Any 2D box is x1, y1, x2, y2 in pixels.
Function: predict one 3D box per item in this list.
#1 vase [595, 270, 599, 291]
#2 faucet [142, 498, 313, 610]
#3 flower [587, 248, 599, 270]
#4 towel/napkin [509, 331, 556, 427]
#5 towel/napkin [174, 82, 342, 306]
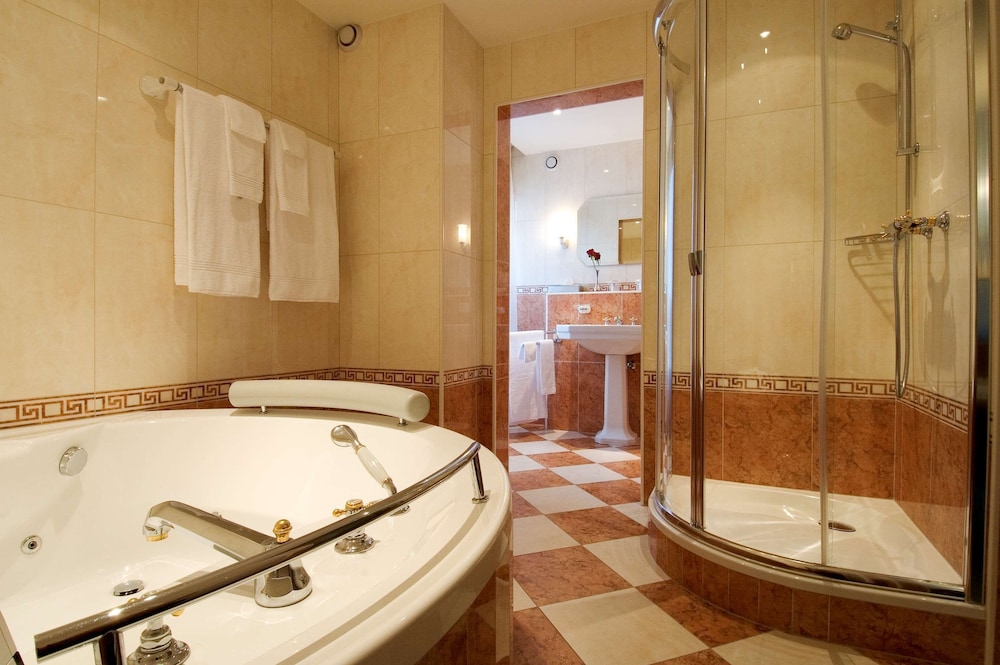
[{"bbox_3d":[0.819,-0.440,5.782,0.043,0.167,0.063,-1,12,8],"label":"vase"},{"bbox_3d":[-0.934,0.695,2.297,0.738,0.231,0.186,9,18,25],"label":"faucet"},{"bbox_3d":[0.787,-0.606,5.765,0.113,0.167,0.048,3,13,26],"label":"flower"},{"bbox_3d":[0.255,0.365,5.469,0.109,0.678,0.762,1,3,29],"label":"towel/napkin"},{"bbox_3d":[-1.228,-0.658,3.420,0.235,1.192,1.204,-1,-2,27],"label":"towel/napkin"}]
